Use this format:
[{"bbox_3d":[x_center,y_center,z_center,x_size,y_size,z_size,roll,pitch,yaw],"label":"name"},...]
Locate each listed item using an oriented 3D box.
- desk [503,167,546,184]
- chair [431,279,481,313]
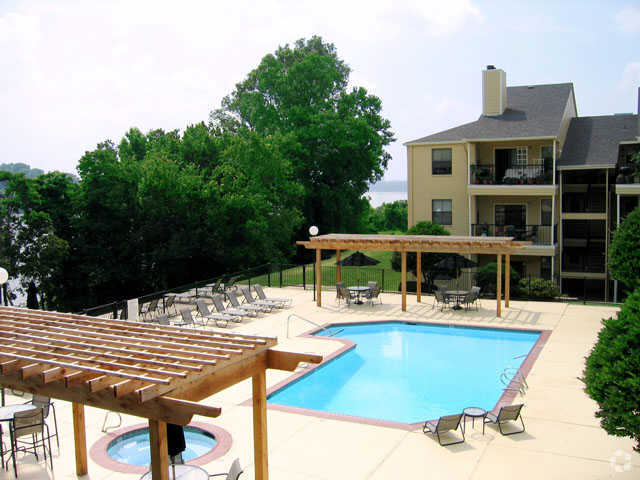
[{"bbox_3d":[13.466,-4.158,34.437,2.186,1.237,1.205,0,-1,29],"label":"desk"},{"bbox_3d":[6.757,2.789,26.095,2.104,1.040,2.665,-1,6,12],"label":"chair"}]
